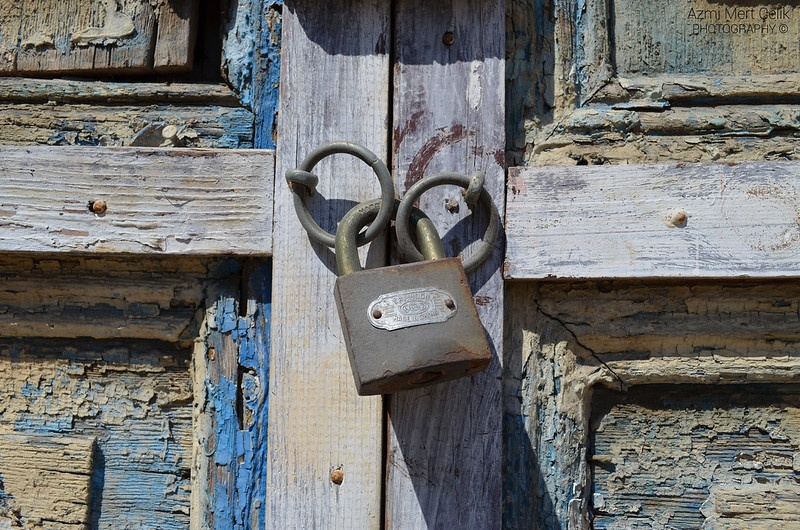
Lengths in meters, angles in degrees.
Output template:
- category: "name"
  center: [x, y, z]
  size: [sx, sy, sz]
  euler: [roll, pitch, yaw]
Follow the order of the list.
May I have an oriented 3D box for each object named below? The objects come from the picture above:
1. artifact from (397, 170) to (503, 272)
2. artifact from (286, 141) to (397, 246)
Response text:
- category: "artifact"
  center: [0.153, -0.125, 3.770]
  size: [0.329, 0.316, 0.326]
  euler: [-4, -32, -3]
- category: "artifact"
  center: [-0.160, -0.204, 3.742]
  size: [0.332, 0.316, 0.101]
  euler: [0, 7, 21]
